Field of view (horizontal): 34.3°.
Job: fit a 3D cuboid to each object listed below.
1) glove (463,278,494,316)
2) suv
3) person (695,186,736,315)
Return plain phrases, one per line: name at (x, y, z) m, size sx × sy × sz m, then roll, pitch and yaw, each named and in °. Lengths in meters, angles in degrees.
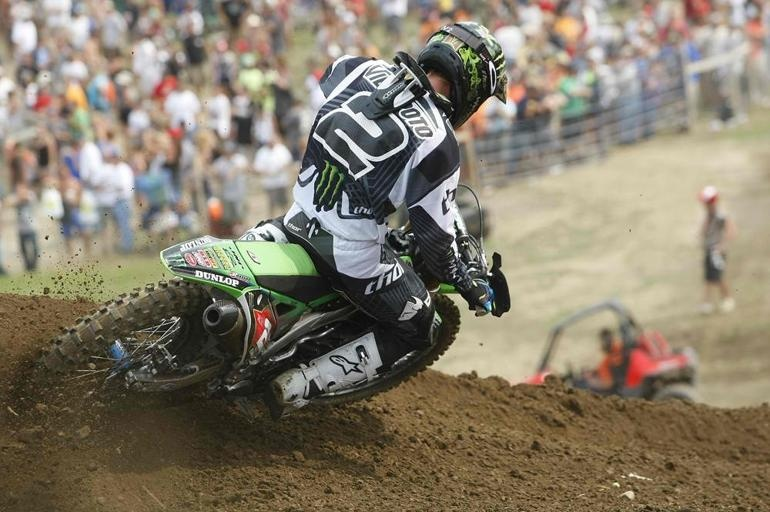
glove at (1.024, 0.425, 13.148) m, size 0.192 × 0.520 × 0.240 m, roll 18°, pitch 53°, yaw 45°
suv at (2.740, 1.139, 15.414) m, size 2.176 × 1.272 × 1.070 m, roll 0°, pitch 2°, yaw 19°
person at (4.188, -0.101, 15.951) m, size 0.574 × 1.419 × 1.081 m, roll -12°, pitch 14°, yaw 17°
